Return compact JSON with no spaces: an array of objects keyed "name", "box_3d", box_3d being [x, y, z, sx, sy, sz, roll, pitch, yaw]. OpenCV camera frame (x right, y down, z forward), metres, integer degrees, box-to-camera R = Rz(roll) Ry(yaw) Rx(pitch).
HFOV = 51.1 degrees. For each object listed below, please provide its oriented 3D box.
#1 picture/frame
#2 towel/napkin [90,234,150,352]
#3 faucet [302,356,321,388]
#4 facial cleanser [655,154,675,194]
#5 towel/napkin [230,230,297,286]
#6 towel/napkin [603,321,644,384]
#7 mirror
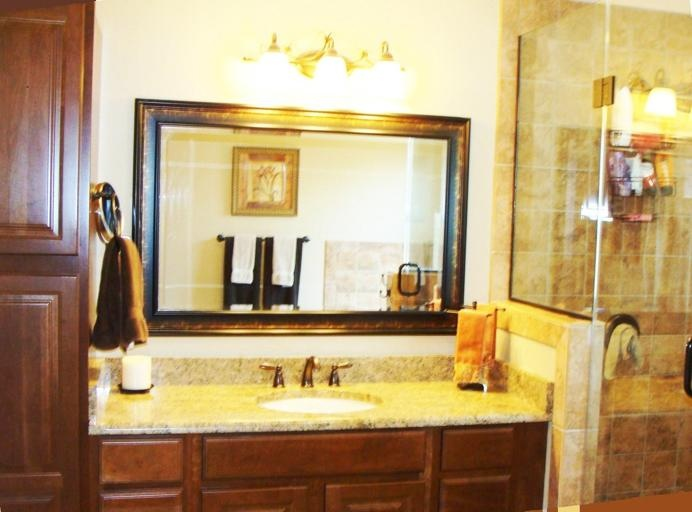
[{"name":"picture/frame","box_3d":[-0.369,-0.349,3.206,0.287,0.314,0.020,1,5,-9]},{"name":"towel/napkin","box_3d":[-0.888,0.141,2.827,0.213,0.442,0.125,-1,4,-25]},{"name":"faucet","box_3d":[-0.156,0.506,3.192,0.077,0.132,0.090,0,4,-3]},{"name":"facial cleanser","box_3d":[1.258,-0.333,2.857,0.051,0.174,0.069,-2,8,9]},{"name":"towel/napkin","box_3d":[-0.381,0.005,3.233,0.221,0.193,0.024,2,2,-5]},{"name":"towel/napkin","box_3d":[1.108,0.378,2.906,0.154,0.224,0.071,-1,2,-37]},{"name":"mirror","box_3d":[-0.256,-0.198,3.221,1.003,0.784,0.041,0,6,-9]}]
